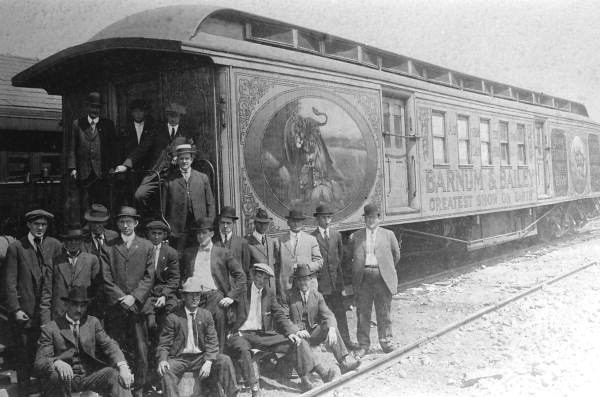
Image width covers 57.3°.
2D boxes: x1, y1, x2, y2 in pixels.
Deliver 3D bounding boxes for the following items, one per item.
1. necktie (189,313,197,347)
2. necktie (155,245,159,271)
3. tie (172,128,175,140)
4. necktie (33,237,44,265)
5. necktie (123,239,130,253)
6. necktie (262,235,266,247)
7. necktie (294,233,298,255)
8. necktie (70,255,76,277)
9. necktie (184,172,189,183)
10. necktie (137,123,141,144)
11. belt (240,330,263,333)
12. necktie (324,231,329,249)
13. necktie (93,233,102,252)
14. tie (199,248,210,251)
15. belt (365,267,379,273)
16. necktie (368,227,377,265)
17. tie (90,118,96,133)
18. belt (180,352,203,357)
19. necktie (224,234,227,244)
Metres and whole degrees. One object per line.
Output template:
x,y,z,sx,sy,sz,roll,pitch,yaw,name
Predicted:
-1.497,1.900,7.761,0.064,0.438,0.182,-3,12,-22,necktie
-2.101,0.888,8.080,0.046,0.338,0.152,0,11,-6,necktie
-2.033,-1.083,8.823,0.029,0.161,0.038,3,-11,-22,tie
-3.791,0.754,7.992,0.095,0.505,0.128,-4,-2,-8,necktie
-2.492,0.701,7.913,0.064,0.150,0.085,-4,12,-24,necktie
-0.579,0.694,8.785,0.024,0.112,0.107,-4,-41,37,necktie
-0.066,0.775,8.877,0.057,0.255,0.113,1,11,-4,necktie
-3.190,0.958,7.746,0.062,0.264,0.114,-3,12,-24,necktie
-1.754,-0.343,8.524,0.054,0.143,0.044,-1,11,-13,necktie
-2.648,-1.116,9.037,0.061,0.301,0.146,-2,12,-16,necktie
-0.736,2.023,8.167,0.304,0.030,0.029,1,12,-6,belt
0.435,0.679,8.988,0.068,0.248,0.136,-1,11,-11,necktie
-2.984,0.650,8.127,0.105,0.232,0.103,-2,12,-19,necktie
-1.423,0.779,8.187,0.139,0.045,0.016,1,11,-3,tie
1.178,1.205,9.017,0.221,0.082,0.030,3,11,4,belt
1.194,0.803,9.082,0.106,0.552,0.237,3,11,7,necktie
-3.411,-1.242,9.048,0.083,0.203,0.036,-2,11,-17,tie
-1.508,2.248,7.712,0.283,0.044,0.025,-1,12,-13,belt
-1.134,0.626,8.394,0.023,0.126,0.030,4,-11,-1,necktie
